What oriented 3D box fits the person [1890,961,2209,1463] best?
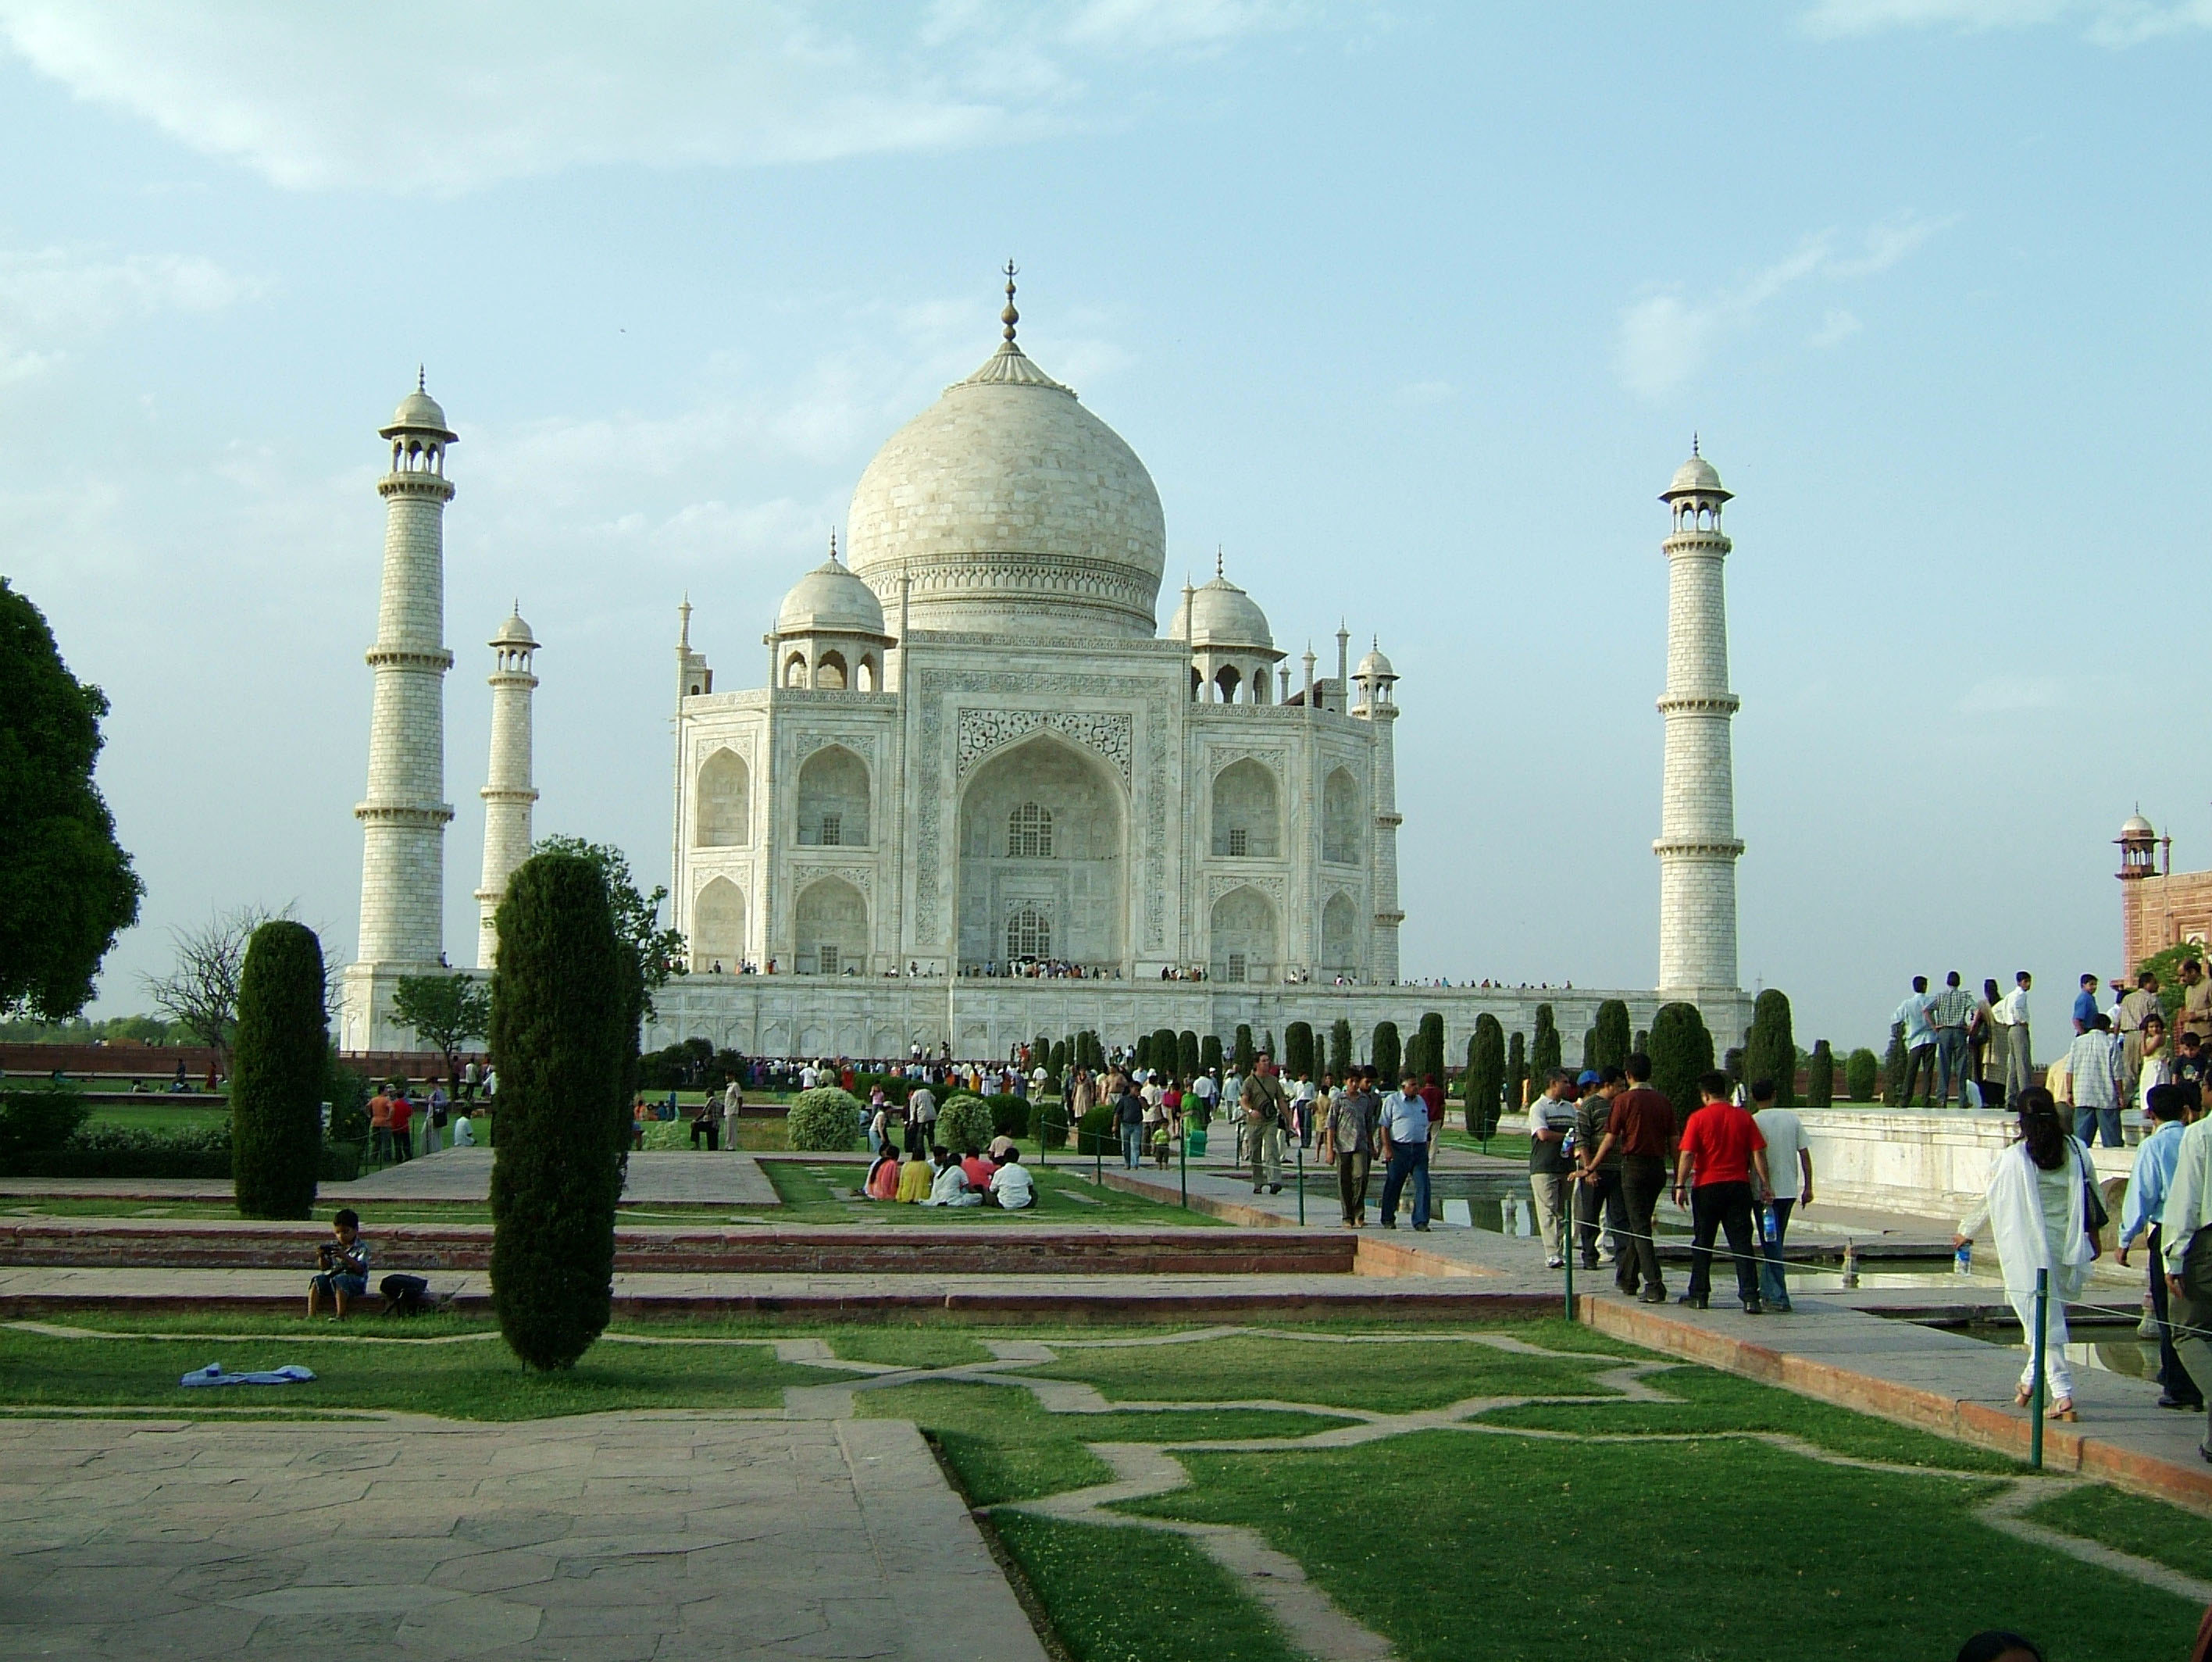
[{"bbox_3d":[3.846,1.675,11.635,0.877,1.380,1.755,-1,-6,16],"label":"person"}]
